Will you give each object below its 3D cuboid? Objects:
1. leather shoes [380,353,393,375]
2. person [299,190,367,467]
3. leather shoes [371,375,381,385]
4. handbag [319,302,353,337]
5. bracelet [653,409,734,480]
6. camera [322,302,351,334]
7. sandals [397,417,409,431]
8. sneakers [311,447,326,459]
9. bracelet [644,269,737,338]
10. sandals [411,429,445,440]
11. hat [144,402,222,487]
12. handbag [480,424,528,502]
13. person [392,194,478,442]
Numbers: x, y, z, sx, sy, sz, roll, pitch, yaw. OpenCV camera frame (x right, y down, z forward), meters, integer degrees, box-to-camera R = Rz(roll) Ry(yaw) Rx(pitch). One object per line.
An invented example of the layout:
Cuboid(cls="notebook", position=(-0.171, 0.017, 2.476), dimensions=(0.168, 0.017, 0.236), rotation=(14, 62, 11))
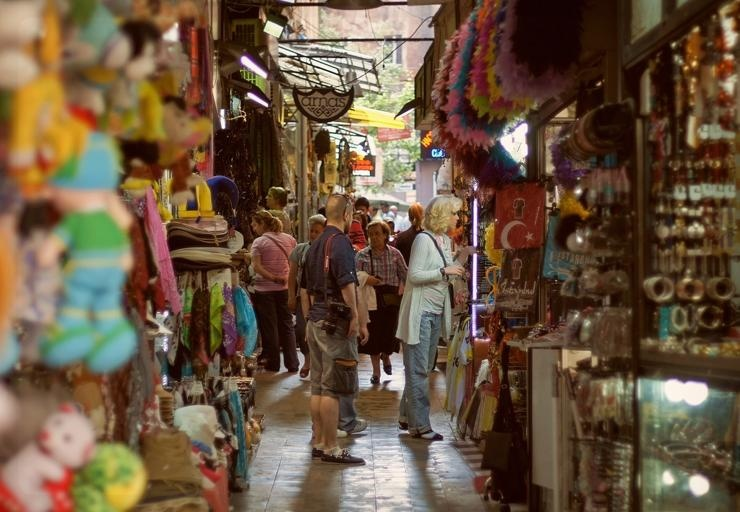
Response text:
Cuboid(cls="leather shoes", position=(0.229, 1.381, 8.952), dimensions=(0.100, 0.330, 0.086), rotation=(-13, 16, -19))
Cuboid(cls="person", position=(-0.266, 0.548, 5.362), dimensions=(0.365, 2.059, 0.533), rotation=(6, -4, -38))
Cuboid(cls="leather shoes", position=(0.071, 1.495, 8.431), dimensions=(0.089, 0.082, 0.267), rotation=(2, -1, -6))
Cuboid(cls="handbag", position=(-0.256, 0.466, 5.157), dimensions=(0.233, 0.266, 0.172), rotation=(2, 3, -14))
Cuboid(cls="bracelet", position=(1.475, 0.858, 3.114), dimensions=(0.244, 0.083, 0.183), rotation=(-17, 35, -5))
Cuboid(cls="camera", position=(-0.238, 0.458, 5.158), dimensions=(0.235, 0.259, 0.163), rotation=(4, 3, -24))
Cuboid(cls="sandals", position=(0.307, 1.524, 6.363), dimensions=(0.143, 0.114, 0.052), rotation=(-1, 3, 11))
Cuboid(cls="sneakers", position=(-0.414, 1.547, 5.470), dimensions=(0.054, 0.054, 0.118), rotation=(2, 5, 1))
Cuboid(cls="bracelet", position=(1.482, 0.241, 3.244), dimensions=(0.427, 0.300, 0.076), rotation=(4, -3, 3))
Cuboid(cls="sandals", position=(0.506, 1.531, 6.063), dimensions=(0.261, 0.083, 0.109), rotation=(-2, 0, 7))
Cuboid(cls="hat", position=(-0.762, 0.823, 2.942), dimensions=(0.337, 0.161, 0.338), rotation=(5, 5, -29))
Cuboid(cls="handbag", position=(0.847, 1.324, 4.372), dimensions=(0.272, 0.469, 0.279), rotation=(3, -3, 13))
Cuboid(cls="person", position=(0.560, 0.495, 6.175), dimensions=(0.601, 2.198, 0.596), rotation=(3, -3, 8))
